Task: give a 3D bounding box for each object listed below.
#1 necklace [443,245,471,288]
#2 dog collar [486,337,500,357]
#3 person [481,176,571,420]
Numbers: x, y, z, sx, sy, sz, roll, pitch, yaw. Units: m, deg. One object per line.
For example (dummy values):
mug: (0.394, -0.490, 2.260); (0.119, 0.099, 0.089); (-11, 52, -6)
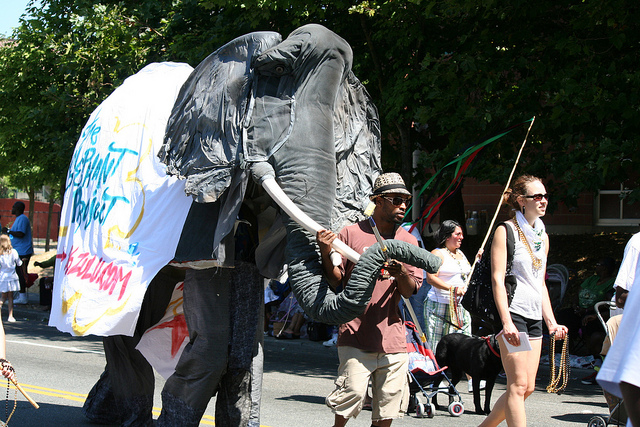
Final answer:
necklace: (1.880, 0.706, 10.775); (0.360, 0.494, 0.756); (4, -5, 11)
dog collar: (2.188, 1.661, 9.579); (0.053, 0.206, 0.183); (-23, -5, 23)
person: (2.036, 0.844, 7.737); (0.541, 2.483, 0.727); (2, -6, 40)
